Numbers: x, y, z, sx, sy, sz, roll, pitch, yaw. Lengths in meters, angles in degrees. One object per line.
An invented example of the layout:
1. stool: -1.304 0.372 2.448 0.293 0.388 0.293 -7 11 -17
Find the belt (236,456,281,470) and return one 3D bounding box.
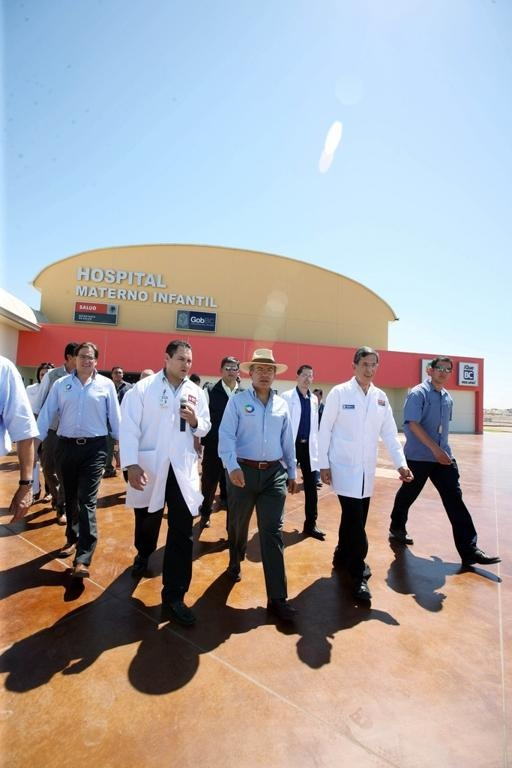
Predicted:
1. belt: 0.027 0.518 3.576 0.283 0.064 0.105 1 5 -16

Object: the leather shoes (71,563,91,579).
1. leather shoes: -1.144 1.201 3.487 0.066 0.094 0.186 4 -10 -19

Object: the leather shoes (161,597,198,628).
1. leather shoes: -0.451 1.350 3.148 0.100 0.118 0.230 11 -20 -36

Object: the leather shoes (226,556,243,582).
1. leather shoes: -0.140 1.307 3.769 0.063 0.194 0.171 3 -5 0

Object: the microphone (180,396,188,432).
1. microphone: -0.478 0.188 3.504 0.047 0.224 0.146 -1 8 -9

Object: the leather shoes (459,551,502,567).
1. leather shoes: 1.733 1.339 4.113 0.306 0.177 0.132 -7 -14 12

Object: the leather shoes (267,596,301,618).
1. leather shoes: 0.175 1.356 3.259 0.082 0.114 0.206 11 -24 -43

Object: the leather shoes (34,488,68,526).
1. leather shoes: -1.952 1.157 5.062 0.169 0.287 0.573 10 -23 -35

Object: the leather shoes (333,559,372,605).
1. leather shoes: 0.655 1.340 3.619 0.107 0.179 0.407 2 -25 -2

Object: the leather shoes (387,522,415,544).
1. leather shoes: 1.290 1.328 4.746 0.092 0.120 0.261 3 -18 -11
